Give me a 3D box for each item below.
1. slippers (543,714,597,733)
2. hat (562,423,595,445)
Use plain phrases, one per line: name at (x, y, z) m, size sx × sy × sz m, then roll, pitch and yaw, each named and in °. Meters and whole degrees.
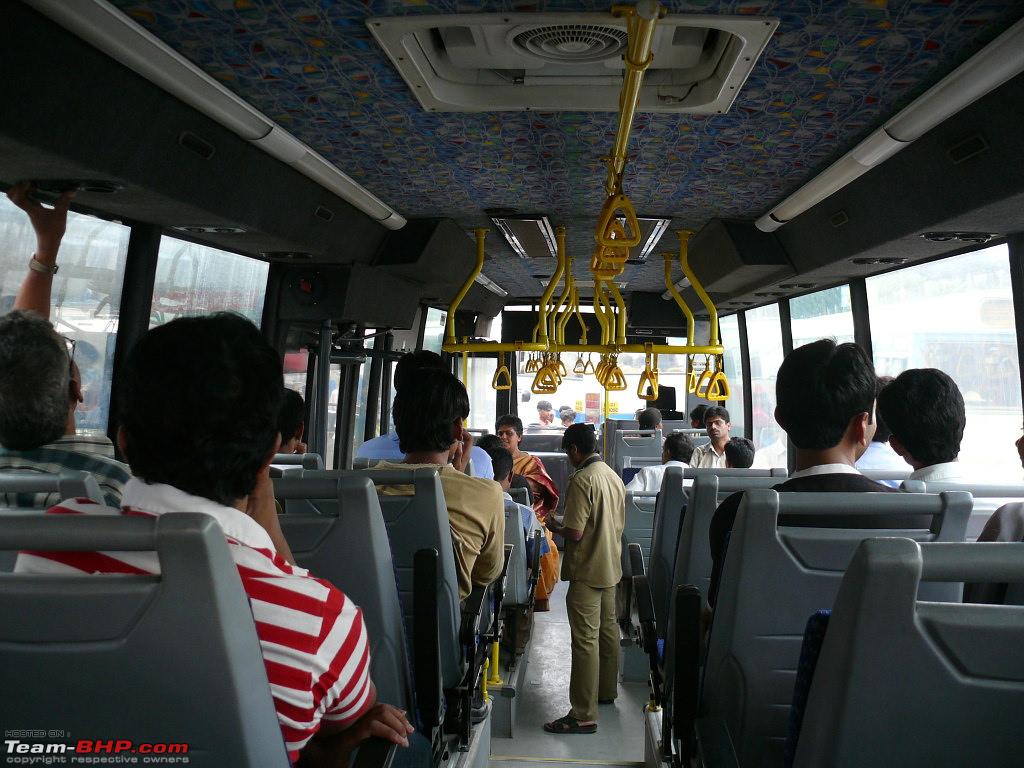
slippers at (0.347, 2.004, 4.129) m, size 0.342 × 0.124 × 0.110 m, roll 2°, pitch -13°, yaw 5°
hat at (0.480, 0.335, 4.702) m, size 0.191 × 0.170 × 0.142 m, roll 1°, pitch 3°, yaw -37°
